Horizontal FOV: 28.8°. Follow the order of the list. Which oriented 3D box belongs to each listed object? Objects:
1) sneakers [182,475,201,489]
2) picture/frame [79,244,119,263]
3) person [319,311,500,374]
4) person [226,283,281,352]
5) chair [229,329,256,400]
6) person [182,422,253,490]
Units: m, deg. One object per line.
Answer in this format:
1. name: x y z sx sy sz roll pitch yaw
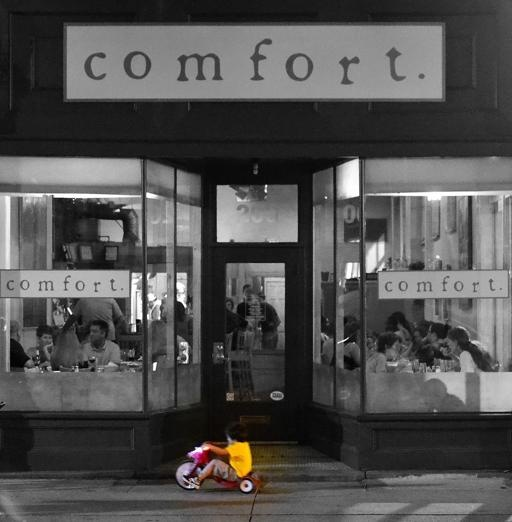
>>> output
1. sneakers: -0.684 2.419 10.839 0.232 0.082 0.098 29 -48 -32
2. picture/frame: -1.899 -0.099 12.051 0.490 0.218 0.032 -1 -3 2
3. person: 1.863 0.994 12.123 2.063 0.730 0.588 -1 -3 8
4. person: -0.008 0.751 13.049 0.731 1.496 0.724 1 -7 0
5. chair: -0.160 1.207 12.985 0.277 0.814 0.313 3 -6 4
6. person: -0.420 2.160 10.922 0.803 0.752 0.491 4 -7 -3
